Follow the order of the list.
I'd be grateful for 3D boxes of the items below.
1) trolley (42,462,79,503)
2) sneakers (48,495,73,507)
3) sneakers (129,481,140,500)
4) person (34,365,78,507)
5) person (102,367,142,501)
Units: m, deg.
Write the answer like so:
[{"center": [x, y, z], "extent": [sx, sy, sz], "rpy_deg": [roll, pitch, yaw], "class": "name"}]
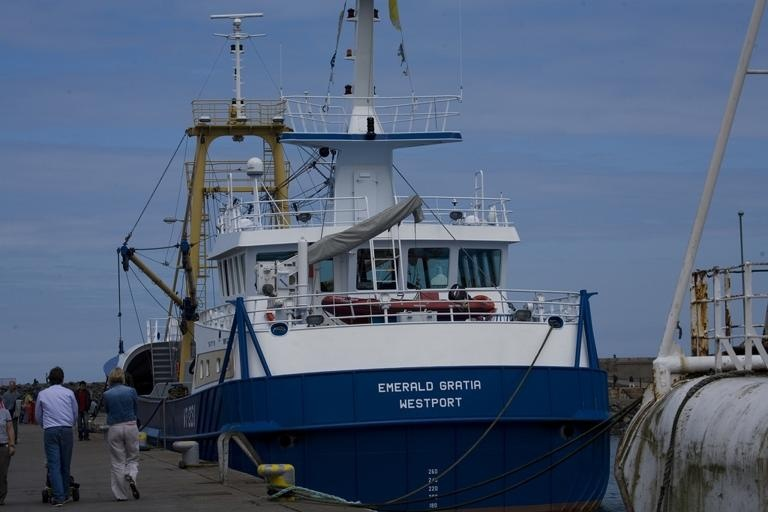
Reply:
[{"center": [-7.165, 4.976, 42.430], "extent": [0.714, 0.952, 0.906], "rpy_deg": [-3, -9, -15], "class": "trolley"}, {"center": [-7.020, 5.304, 41.692], "extent": [0.252, 0.266, 0.637], "rpy_deg": [1, 2, -3], "class": "sneakers"}, {"center": [-5.447, 5.092, 41.999], "extent": [0.165, 0.468, 0.191], "rpy_deg": [-15, 8, -11], "class": "sneakers"}, {"center": [-7.130, 3.920, 41.844], "extent": [0.926, 2.961, 0.566], "rpy_deg": [2, -6, -24], "class": "person"}, {"center": [-5.738, 3.899, 42.129], "extent": [0.746, 2.858, 0.447], "rpy_deg": [0, -5, -7], "class": "person"}]
